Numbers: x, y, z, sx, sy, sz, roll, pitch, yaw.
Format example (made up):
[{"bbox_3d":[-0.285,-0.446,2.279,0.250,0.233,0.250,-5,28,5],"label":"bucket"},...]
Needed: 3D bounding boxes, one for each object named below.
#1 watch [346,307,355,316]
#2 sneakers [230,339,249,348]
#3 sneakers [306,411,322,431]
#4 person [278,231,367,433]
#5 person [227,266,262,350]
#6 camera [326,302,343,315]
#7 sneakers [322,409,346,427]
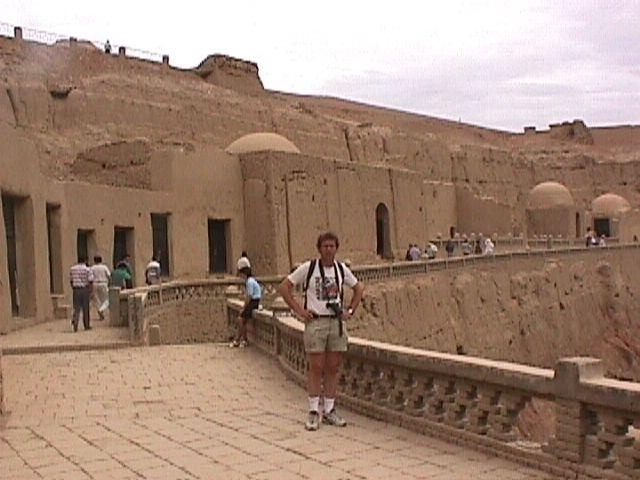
[{"bbox_3d":[0.365,0.864,9.825,0.057,0.096,0.094,18,-28,16],"label":"watch"},{"bbox_3d":[-1.628,2.066,16.160,0.371,0.180,0.144,7,-5,-14],"label":"sneakers"},{"bbox_3d":[-0.084,2.223,9.908,0.143,0.147,0.310,1,-14,-3],"label":"sneakers"},{"bbox_3d":[0.020,1.104,9.938,0.950,2.399,0.475,-1,5,2],"label":"person"},{"bbox_3d":[-1.416,1.314,16.108,0.859,1.604,0.669,2,6,37],"label":"person"},{"bbox_3d":[0.175,0.827,9.881,0.121,0.095,0.333,-2,12,-19],"label":"camera"},{"bbox_3d":[0.170,2.213,10.039,0.150,0.158,0.295,2,-6,-42],"label":"sneakers"}]
